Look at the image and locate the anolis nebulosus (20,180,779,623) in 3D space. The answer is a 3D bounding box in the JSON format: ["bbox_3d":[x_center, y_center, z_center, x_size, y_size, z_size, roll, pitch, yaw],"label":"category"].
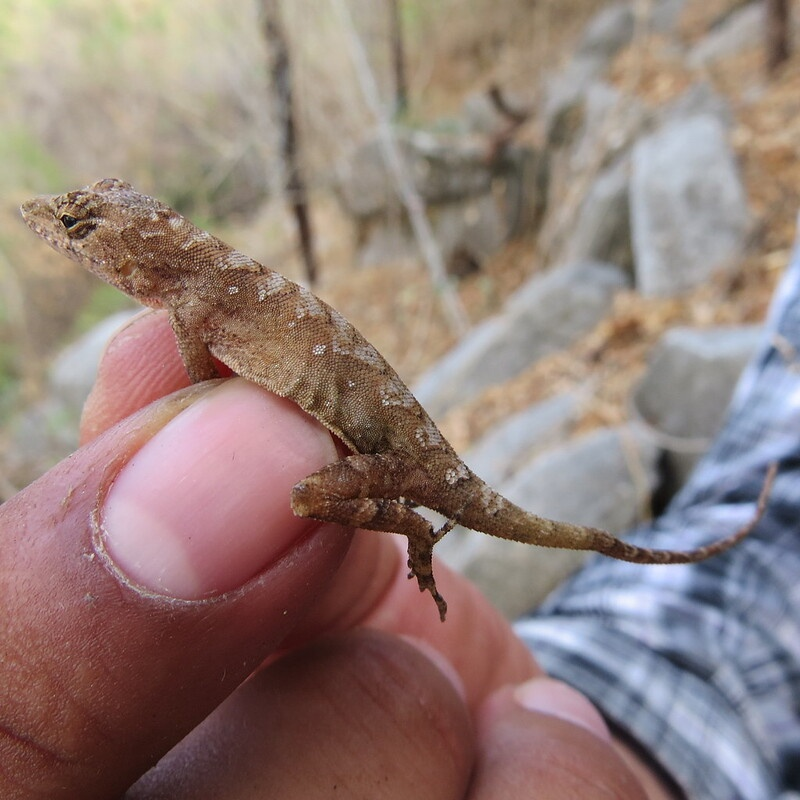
[{"bbox_3d":[-0.088,0.050,1.825,1.366,0.526,0.356,26,-91,-1],"label":"anolis nebulosus"}]
